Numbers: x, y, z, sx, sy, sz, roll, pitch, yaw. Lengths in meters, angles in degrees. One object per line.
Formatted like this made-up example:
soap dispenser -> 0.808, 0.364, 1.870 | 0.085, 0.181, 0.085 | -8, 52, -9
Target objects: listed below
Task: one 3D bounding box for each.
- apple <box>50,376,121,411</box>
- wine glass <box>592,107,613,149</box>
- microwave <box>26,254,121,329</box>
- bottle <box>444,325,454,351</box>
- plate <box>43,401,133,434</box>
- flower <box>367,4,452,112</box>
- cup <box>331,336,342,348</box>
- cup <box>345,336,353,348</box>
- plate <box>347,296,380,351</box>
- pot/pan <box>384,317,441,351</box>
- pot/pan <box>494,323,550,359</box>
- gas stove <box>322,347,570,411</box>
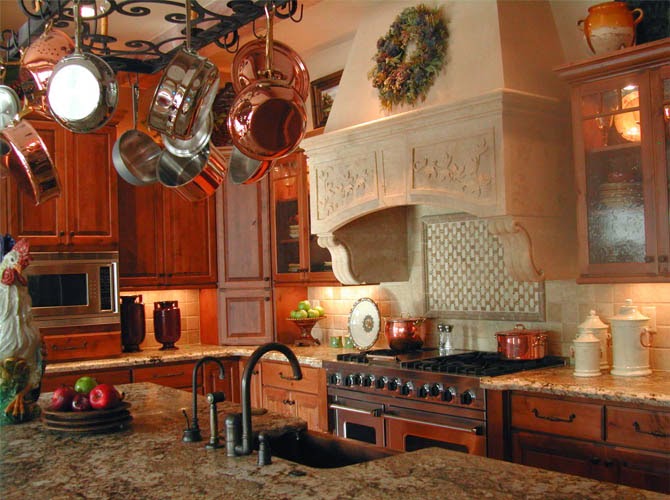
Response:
apple -> -1.062, 0.634, 2.467 | 0.197, 0.087, 0.214 | 3, -1, 37
wine glass -> 1.493, -0.676, 3.087 | 0.095, 0.163, 0.162 | 10, 5, 43
microwave -> -2.083, 0.312, 4.661 | 0.920, 0.717, 0.510 | 1, -5, -36
bottle -> 0.836, 0.636, 4.127 | 0.053, 0.116, 0.143 | -2, -2, 11
plate -> -1.071, 0.725, 2.420 | 0.373, 0.106, 0.164 | -2, -2, -9
flower -> 0.506, -1.297, 3.767 | 0.121, 0.679, 0.555 | -1, -2, -43
cup -> 0.008, 0.770, 4.740 | 0.088, 0.072, 0.085 | 0, 2, 0
cup -> 0.113, 0.760, 4.662 | 0.087, 0.088, 0.084 | -2, -6, 0
plate -> 0.230, 0.596, 4.506 | 0.125, 0.419, 0.322 | -1, -2, -28
pot/pan -> 0.559, 0.601, 4.113 | 0.328, 0.201, 0.268 | -4, -3, 38
pot/pan -> 1.162, 0.577, 3.563 | 0.256, 0.156, 0.225 | -1, -4, 3
gas stove -> 0.648, 0.806, 3.718 | 1.421, 0.197, 0.647 | -3, -2, 44
